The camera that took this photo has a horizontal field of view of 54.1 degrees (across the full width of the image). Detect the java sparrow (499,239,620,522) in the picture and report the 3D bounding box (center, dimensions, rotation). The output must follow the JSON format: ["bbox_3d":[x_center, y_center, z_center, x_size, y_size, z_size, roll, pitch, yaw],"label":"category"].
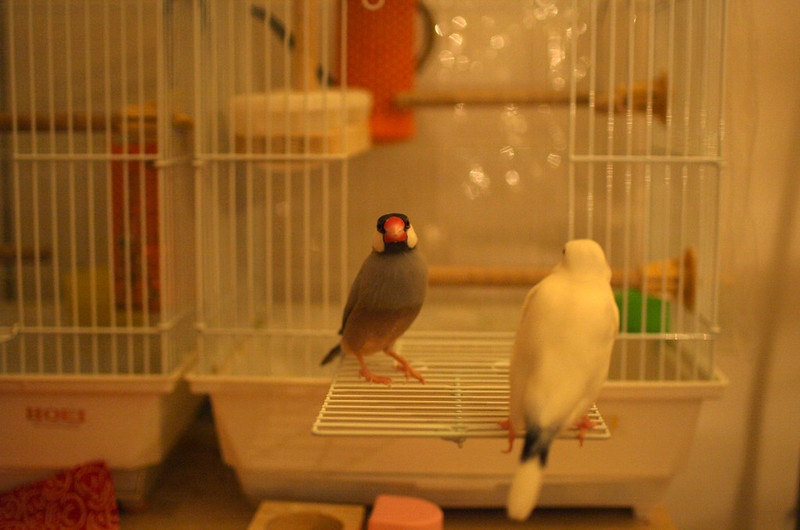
[{"bbox_3d":[0.292,0.138,1.208,0.155,0.333,0.453,9,47,13],"label":"java sparrow"}]
